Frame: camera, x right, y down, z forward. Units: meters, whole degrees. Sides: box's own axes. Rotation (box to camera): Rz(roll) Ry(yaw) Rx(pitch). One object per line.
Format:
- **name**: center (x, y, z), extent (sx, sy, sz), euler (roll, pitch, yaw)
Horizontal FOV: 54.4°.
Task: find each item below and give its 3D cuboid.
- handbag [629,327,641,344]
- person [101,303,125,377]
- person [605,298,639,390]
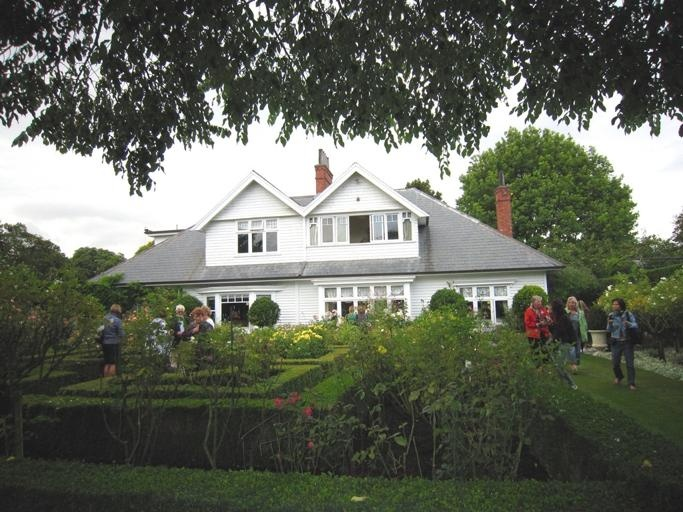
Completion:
- **handbag**: center (5.690, 1.527, 12.888), extent (0.329, 0.277, 0.136), euler (11, -15, -40)
- **person**: center (-4.568, 1.615, 13.249), extent (0.439, 1.519, 1.719), euler (4, -13, -18)
- **person**: center (5.580, 1.716, 13.217), extent (0.519, 1.770, 1.287), euler (-4, -12, 22)
